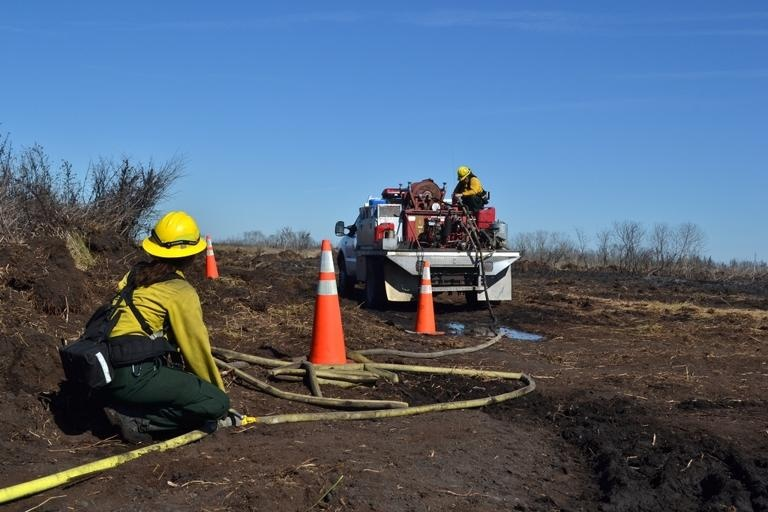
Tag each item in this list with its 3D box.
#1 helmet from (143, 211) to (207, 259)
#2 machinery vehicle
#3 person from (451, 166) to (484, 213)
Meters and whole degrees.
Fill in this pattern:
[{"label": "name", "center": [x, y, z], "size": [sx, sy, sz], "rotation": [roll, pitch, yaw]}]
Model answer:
[{"label": "helmet", "center": [-2.012, -0.256, 6.303], "size": [0.587, 0.334, 0.678], "rotation": [23, 22, 34]}, {"label": "machinery vehicle", "center": [0.983, -0.406, 14.901], "size": [3.103, 2.387, 5.291], "rotation": [-1, 5, -15]}, {"label": "person", "center": [1.823, -1.436, 14.034], "size": [0.793, 1.046, 0.817], "rotation": [-11, 15, -29]}]
